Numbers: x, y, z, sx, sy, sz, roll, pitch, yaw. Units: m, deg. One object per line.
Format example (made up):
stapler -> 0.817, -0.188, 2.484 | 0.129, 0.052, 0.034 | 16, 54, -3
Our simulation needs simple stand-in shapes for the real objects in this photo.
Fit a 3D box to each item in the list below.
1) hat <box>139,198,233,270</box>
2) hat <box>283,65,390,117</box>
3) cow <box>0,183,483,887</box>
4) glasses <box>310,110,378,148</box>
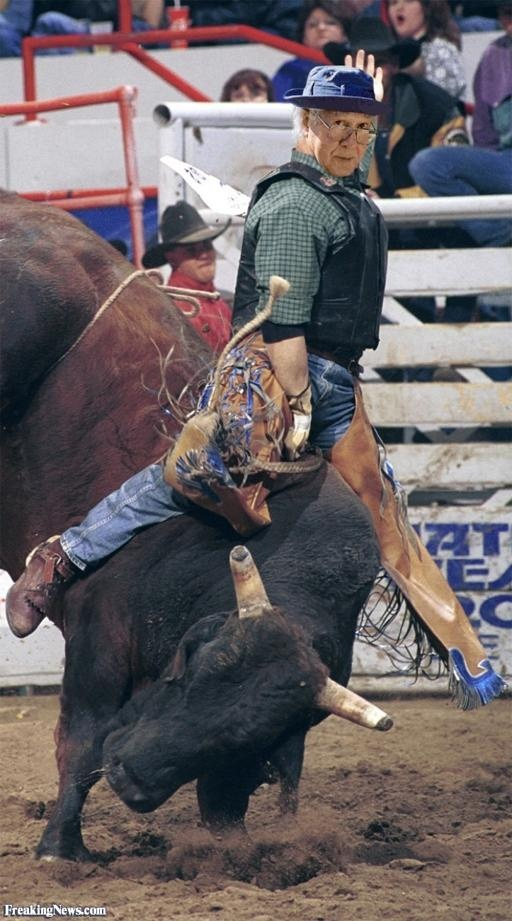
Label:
hat -> -0.422, -1.277, 6.415 | 0.462, 0.184, 0.337 | -16, 14, 46
hat -> 0.245, -1.192, 3.721 | 0.199, 0.080, 0.218 | -1, 14, -37
cow -> -0.306, 0.176, 3.762 | 0.810, 2.220, 1.732 | 0, 2, -39
glasses -> 0.268, -1.116, 3.767 | 0.155, 0.047, 0.149 | 0, 27, -35
